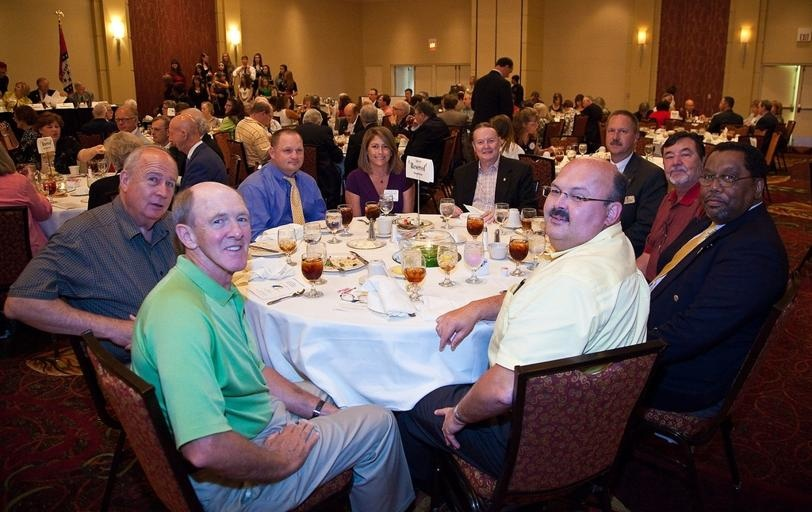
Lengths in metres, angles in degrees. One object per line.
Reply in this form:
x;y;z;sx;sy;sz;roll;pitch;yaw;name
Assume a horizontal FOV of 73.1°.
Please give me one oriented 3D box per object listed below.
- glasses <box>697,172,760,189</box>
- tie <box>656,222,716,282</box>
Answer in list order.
1.717;-0.404;2.914;0.242;0.060;0.093;6;15;25;glasses
1.576;-0.015;3.048;0.068;0.123;0.512;42;59;11;tie
